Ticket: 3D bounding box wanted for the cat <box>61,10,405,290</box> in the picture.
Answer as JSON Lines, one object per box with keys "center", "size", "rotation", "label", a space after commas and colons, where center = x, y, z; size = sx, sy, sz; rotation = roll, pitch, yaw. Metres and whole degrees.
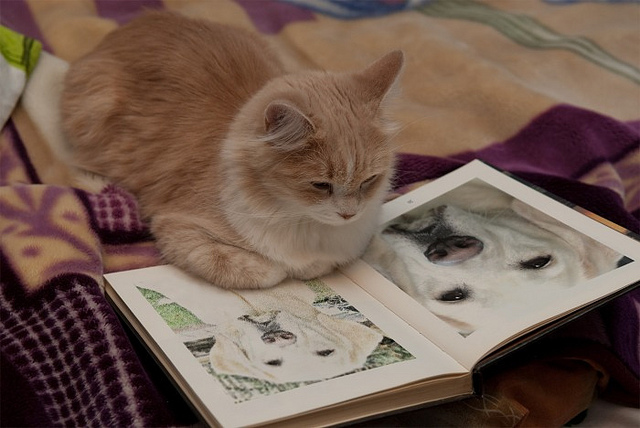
{"center": [-0.261, -0.182, 1.645], "size": [0.783, 0.454, 0.650], "rotation": [48, 52, 10], "label": "cat"}
